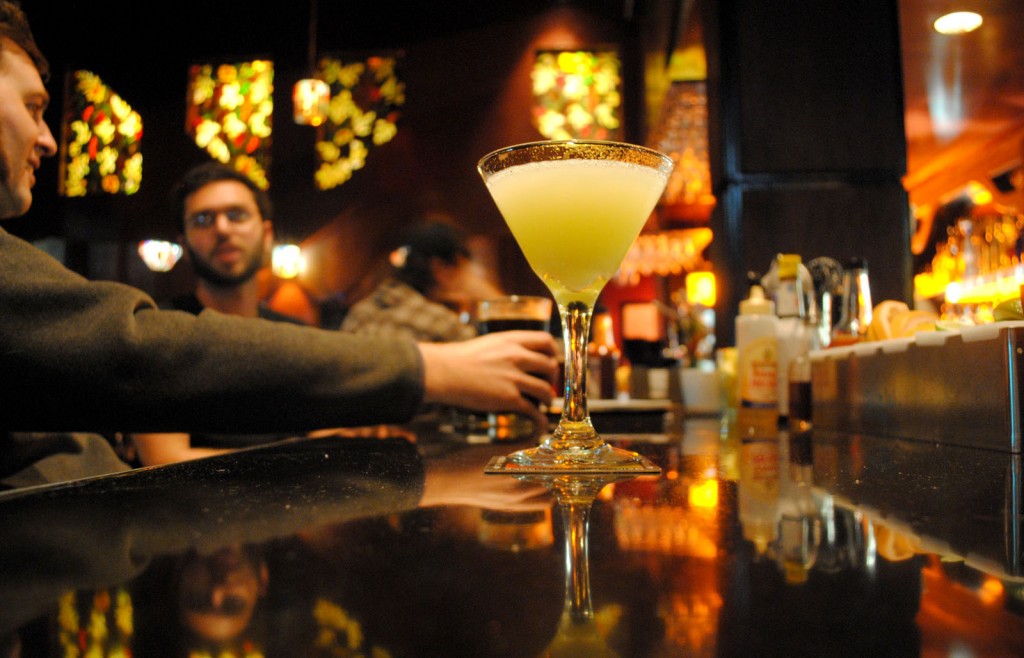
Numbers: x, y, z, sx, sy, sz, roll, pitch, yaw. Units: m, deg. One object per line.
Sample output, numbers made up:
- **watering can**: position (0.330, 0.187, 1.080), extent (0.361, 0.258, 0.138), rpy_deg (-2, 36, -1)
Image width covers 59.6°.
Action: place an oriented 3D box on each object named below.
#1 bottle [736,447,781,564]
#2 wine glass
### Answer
- **bottle**: position (0.416, 0.289, 1.519), extent (0.070, 0.155, 0.403), rpy_deg (2, -1, 16)
- **wine glass**: position (0.114, -0.045, 1.716), extent (0.381, 0.627, 0.269), rpy_deg (2, 0, -3)
